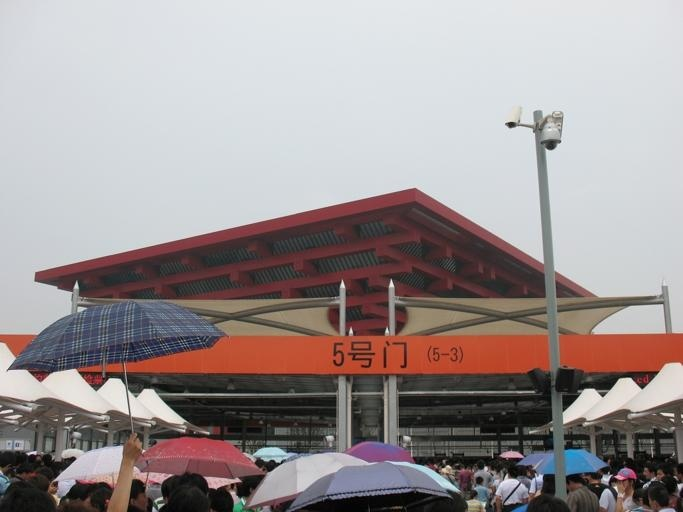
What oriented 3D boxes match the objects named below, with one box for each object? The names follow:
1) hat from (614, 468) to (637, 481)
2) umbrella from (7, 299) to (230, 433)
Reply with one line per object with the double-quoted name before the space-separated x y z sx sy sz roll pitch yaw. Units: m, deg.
"hat" 4.996 3.804 17.395 0.466 0.199 0.286 0 -23 13
"umbrella" -3.279 1.453 14.251 2.788 2.196 1.529 5 -22 -15
